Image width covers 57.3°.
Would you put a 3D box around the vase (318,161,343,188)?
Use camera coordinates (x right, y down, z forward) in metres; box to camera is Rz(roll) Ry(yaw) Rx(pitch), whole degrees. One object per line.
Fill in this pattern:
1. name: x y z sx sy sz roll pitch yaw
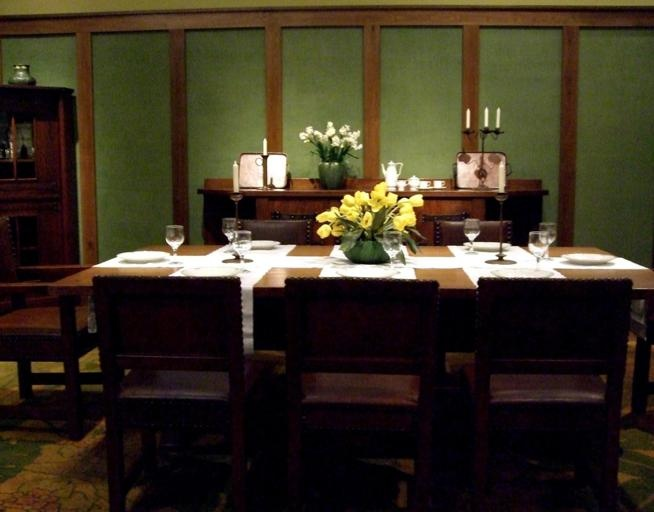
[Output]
1. vase: 0.021 -0.655 4.818 0.183 0.177 0.206 7 13 29

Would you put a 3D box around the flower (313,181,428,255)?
1. flower: 0.210 -0.116 2.873 0.475 0.342 0.471 1 0 8

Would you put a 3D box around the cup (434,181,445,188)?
1. cup: 0.922 -0.578 4.884 0.091 0.062 0.058 0 0 -44

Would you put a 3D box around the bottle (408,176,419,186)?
1. bottle: 0.703 -0.607 4.857 0.068 0.098 0.094 -1 2 1

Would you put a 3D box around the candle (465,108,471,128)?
1. candle: 1.148 -1.114 4.847 0.042 0.163 0.078 0 12 12

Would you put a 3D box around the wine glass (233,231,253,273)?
1. wine glass: -0.381 -0.044 2.694 0.082 0.148 0.092 -3 12 -11

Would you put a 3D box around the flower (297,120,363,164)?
1. flower: 0.036 -0.870 4.866 0.376 0.249 0.344 -1 5 -34

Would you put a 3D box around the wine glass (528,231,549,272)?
1. wine glass: 0.897 -0.006 2.533 0.079 0.214 0.080 7 22 29

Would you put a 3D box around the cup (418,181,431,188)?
1. cup: 0.797 -0.575 4.842 0.093 0.069 0.062 1 3 -18
